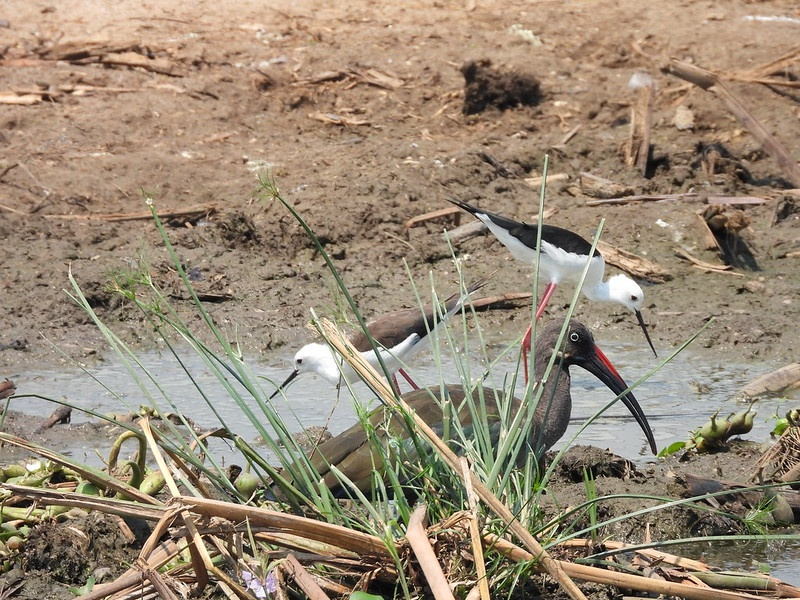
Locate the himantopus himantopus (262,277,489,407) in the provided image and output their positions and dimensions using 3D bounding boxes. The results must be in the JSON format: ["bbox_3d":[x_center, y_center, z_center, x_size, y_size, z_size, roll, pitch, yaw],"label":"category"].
[{"bbox_3d":[-0.191,0.512,8.321,2.177,0.693,0.604,-23,11,-32],"label":"himantopus himantopus"}]

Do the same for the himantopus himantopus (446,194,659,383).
[{"bbox_3d":[1.724,-0.194,10.343,0.797,1.493,2.851,-15,25,-35],"label":"himantopus himantopus"}]
